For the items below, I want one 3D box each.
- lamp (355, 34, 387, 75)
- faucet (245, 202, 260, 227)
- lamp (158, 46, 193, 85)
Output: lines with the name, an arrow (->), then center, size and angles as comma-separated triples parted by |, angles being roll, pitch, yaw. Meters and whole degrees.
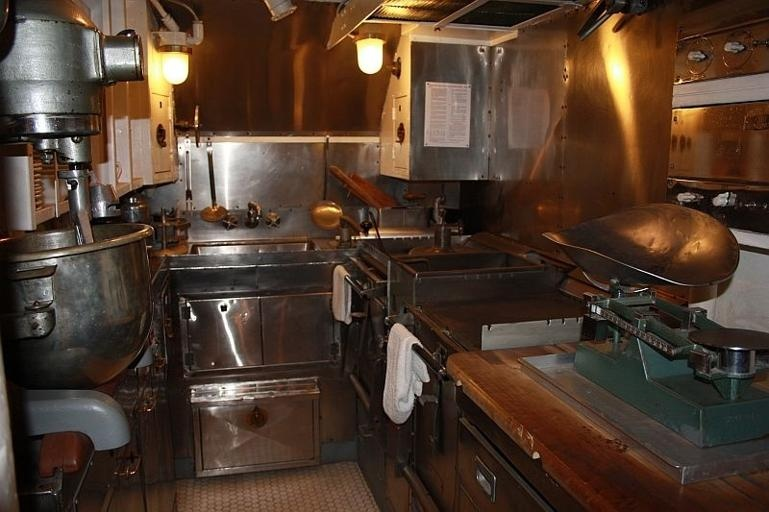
lamp -> -0.092, -1.157, 3.490 | 0.200, 0.203, 0.195 | -1, 8, -12
faucet -> -0.839, -0.262, 3.835 | 0.100, 0.170, 0.091 | -5, 13, -11
lamp -> -1.137, -1.029, 3.278 | 0.168, 0.176, 0.161 | -8, 13, -33
